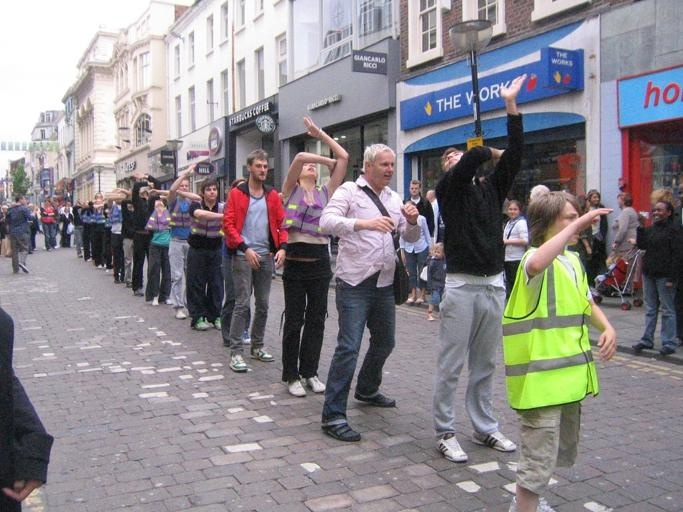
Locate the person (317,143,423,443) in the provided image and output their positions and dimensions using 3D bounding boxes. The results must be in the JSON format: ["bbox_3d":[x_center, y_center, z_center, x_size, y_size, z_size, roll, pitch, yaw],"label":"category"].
[{"bbox_3d":[0.229,0.257,5.477,0.802,2.387,0.934,2,5,28],"label":"person"}]

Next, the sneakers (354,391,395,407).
[{"bbox_3d":[0.298,1.334,6.032,0.375,0.171,0.144,1,0,9],"label":"sneakers"}]

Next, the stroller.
[{"bbox_3d":[5.019,0.399,11.553,1.159,1.475,0.769,2,6,27],"label":"stroller"}]

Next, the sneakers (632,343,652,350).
[{"bbox_3d":[3.728,1.127,8.039,0.238,0.109,0.089,-2,-4,-2],"label":"sneakers"}]

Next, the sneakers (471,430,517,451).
[{"bbox_3d":[1.186,1.418,5.091,0.337,0.153,0.123,6,4,25],"label":"sneakers"}]

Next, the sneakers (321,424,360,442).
[{"bbox_3d":[-0.013,1.396,5.227,0.268,0.123,0.127,3,3,29],"label":"sneakers"}]

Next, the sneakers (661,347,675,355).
[{"bbox_3d":[3.889,1.138,7.751,0.151,0.078,0.063,-7,-22,-5],"label":"sneakers"}]

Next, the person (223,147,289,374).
[{"bbox_3d":[-0.973,0.038,7.252,0.666,2.433,0.939,-4,6,-36],"label":"person"}]

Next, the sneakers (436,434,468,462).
[{"bbox_3d":[0.828,1.457,4.915,0.105,0.122,0.275,-2,-2,-22],"label":"sneakers"}]
